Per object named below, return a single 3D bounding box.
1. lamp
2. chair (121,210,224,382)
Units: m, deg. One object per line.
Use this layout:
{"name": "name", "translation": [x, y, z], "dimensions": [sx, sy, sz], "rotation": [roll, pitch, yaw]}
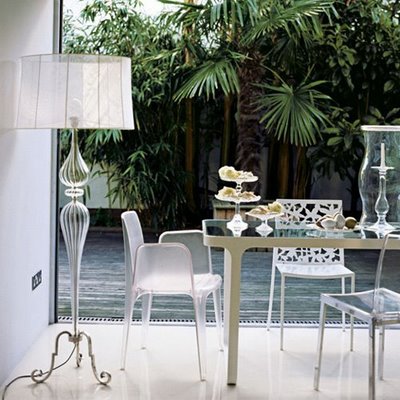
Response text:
{"name": "lamp", "translation": [-0.605, 0.100, 2.800], "dimensions": [0.562, 1.586, 0.326], "rotation": [0, 11, -6]}
{"name": "chair", "translation": [-0.164, 0.523, 3.056], "dimensions": [0.463, 0.805, 0.565], "rotation": [-1, -10, 4]}
